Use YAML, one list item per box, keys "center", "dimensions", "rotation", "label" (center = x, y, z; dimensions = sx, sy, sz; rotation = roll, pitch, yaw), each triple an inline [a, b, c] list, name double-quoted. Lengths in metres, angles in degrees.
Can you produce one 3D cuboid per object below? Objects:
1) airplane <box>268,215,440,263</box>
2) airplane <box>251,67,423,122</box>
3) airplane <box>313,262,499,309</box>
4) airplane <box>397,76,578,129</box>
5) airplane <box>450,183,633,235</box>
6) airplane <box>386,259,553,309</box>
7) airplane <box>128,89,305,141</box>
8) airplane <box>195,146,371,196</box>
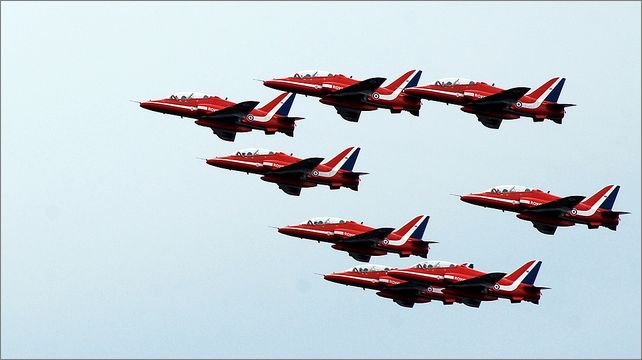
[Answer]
- center: [2.891, 3.917, 90.960]
  dimensions: [12.638, 2.768, 8.591]
  rotation: [7, 6, -2]
  label: "airplane"
- center: [1.895, -7.755, 89.827]
  dimensions: [13.180, 2.986, 8.615]
  rotation: [8, -9, -6]
  label: "airplane"
- center: [8.115, 7.774, 86.844]
  dimensions: [13.201, 2.991, 10.637]
  rotation: [8, -1, 9]
  label: "airplane"
- center: [13.558, -7.164, 90.484]
  dimensions: [12.990, 2.839, 8.673]
  rotation: [9, -5, -1]
  label: "airplane"
- center: [18.553, 1.913, 90.982]
  dimensions: [11.151, 2.819, 3.088]
  rotation: [2, -49, 4]
  label: "airplane"
- center: [12.103, 8.247, 91.171]
  dimensions: [10.929, 2.739, 4.105]
  rotation: [-4, -48, 9]
  label: "airplane"
- center: [-7.095, -4.894, 82.083]
  dimensions: [12.076, 2.754, 7.753]
  rotation: [9, -7, -5]
  label: "airplane"
- center: [-2.834, -1.543, 89.777]
  dimensions: [12.578, 3.173, 8.205]
  rotation: [8, -15, -8]
  label: "airplane"
